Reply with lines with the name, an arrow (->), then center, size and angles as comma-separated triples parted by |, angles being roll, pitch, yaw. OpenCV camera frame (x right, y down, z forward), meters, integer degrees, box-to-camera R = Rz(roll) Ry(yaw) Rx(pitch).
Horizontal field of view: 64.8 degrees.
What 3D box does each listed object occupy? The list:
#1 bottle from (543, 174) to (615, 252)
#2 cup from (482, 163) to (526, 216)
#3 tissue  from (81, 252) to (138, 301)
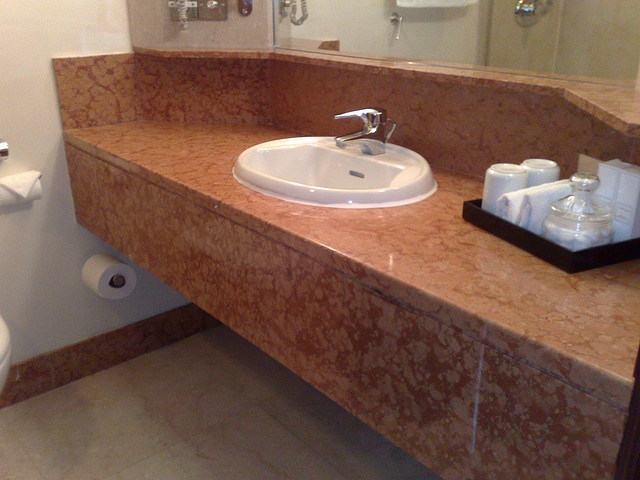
bottle -> 0.573, -0.067, 1.113 | 0.143, 0.156, 0.138 | -14, 24, -17
cup -> 0.450, -0.118, 1.256 | 0.067, 0.101, 0.067 | -1, 19, 0
tissue  -> -0.937, 0.155, 2.233 | 0.187, 0.173, 0.159 | -21, 36, -37
